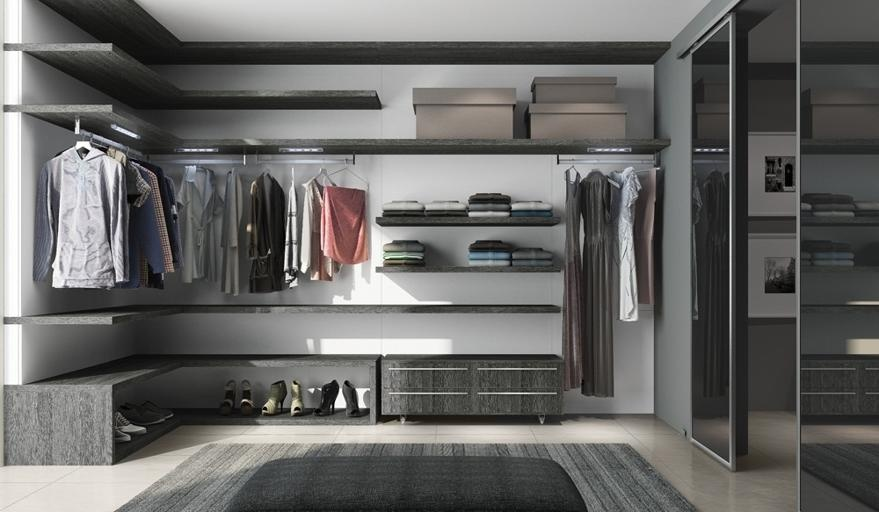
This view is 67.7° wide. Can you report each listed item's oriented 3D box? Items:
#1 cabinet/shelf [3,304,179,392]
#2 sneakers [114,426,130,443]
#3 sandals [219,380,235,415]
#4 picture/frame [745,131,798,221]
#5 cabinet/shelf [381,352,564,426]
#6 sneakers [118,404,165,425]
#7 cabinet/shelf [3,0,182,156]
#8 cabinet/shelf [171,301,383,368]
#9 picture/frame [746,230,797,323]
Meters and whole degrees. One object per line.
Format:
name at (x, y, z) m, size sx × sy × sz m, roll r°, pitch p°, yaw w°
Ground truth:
cabinet/shelf at (-3.129, 0.792, 5.974) m, size 0.713 × 0.746 × 1.285 m, roll 7°, pitch 16°, yaw 24°
sneakers at (-2.836, 1.589, 5.882) m, size 0.122 × 0.135 × 0.131 m, roll -7°, pitch 16°, yaw -23°
sandals at (-2.132, 1.414, 6.617) m, size 0.139 × 0.276 × 0.345 m, roll -4°, pitch 15°, yaw -13°
picture/frame at (3.262, -0.809, 6.454) m, size 0.448 × 0.806 × 0.370 m, roll 4°, pitch 16°, yaw 15°
cabinet/shelf at (0.317, 1.265, 6.372) m, size 1.746 × 0.505 × 0.271 m, roll -1°, pitch 16°, yaw -2°
sneakers at (-2.825, 1.504, 6.222) m, size 0.370 × 0.113 × 0.176 m, roll 5°, pitch -2°, yaw 3°
cabinet/shelf at (-3.061, -1.428, 6.072) m, size 0.957 × 1.014 × 1.393 m, roll 4°, pitch 15°, yaw 16°
cabinet/shelf at (-1.501, 0.741, 6.602) m, size 2.277 × 0.590 × 0.516 m, roll 0°, pitch 15°, yaw -2°
picture/frame at (3.211, 0.200, 6.396) m, size 0.446 × 0.822 × 0.272 m, roll 1°, pitch 16°, yaw 4°
